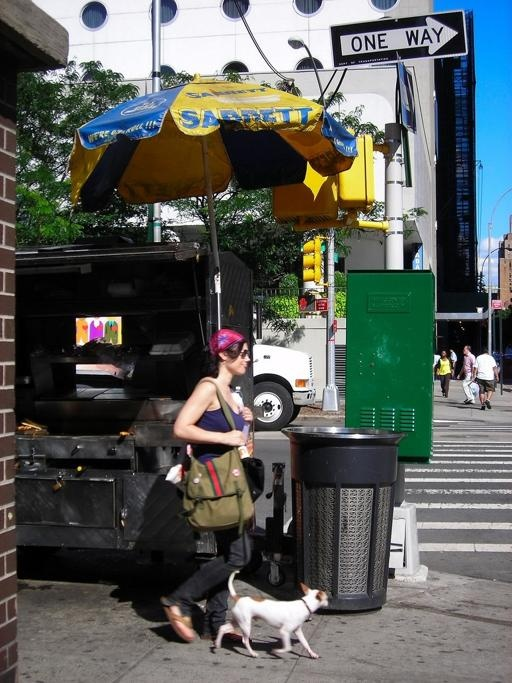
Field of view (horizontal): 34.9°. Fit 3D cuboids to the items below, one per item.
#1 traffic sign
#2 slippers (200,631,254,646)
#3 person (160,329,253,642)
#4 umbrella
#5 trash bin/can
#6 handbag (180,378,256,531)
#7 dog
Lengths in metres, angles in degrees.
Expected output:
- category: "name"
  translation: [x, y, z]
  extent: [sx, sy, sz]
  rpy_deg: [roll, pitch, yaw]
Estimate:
- category: "traffic sign"
  translation: [1.253, -2.695, 7.275]
  extent: [1.191, 0.467, 0.338]
  rpy_deg: [-1, -3, 13]
- category: "slippers"
  translation: [-0.180, 1.563, 4.295]
  extent: [0.230, 0.095, 0.078]
  rpy_deg: [-1, 1, 2]
- category: "person"
  translation: [-0.258, 0.788, 4.352]
  extent: [0.524, 1.626, 0.627]
  rpy_deg: [0, -3, -11]
- category: "umbrella"
  translation: [-0.321, -0.965, 5.968]
  extent: [2.066, 1.758, 2.537]
  rpy_deg: [0, -3, -13]
- category: "trash bin/can"
  translation: [0.540, 1.009, 4.831]
  extent: [0.756, 1.068, 0.656]
  rpy_deg: [-1, -1, 10]
- category: "handbag"
  translation: [-0.202, 0.758, 4.177]
  extent: [0.361, 0.422, 0.188]
  rpy_deg: [0, -3, -4]
- category: "dog"
  translation: [0.055, 1.384, 4.094]
  extent: [0.496, 0.424, 0.544]
  rpy_deg: [0, -3, -13]
